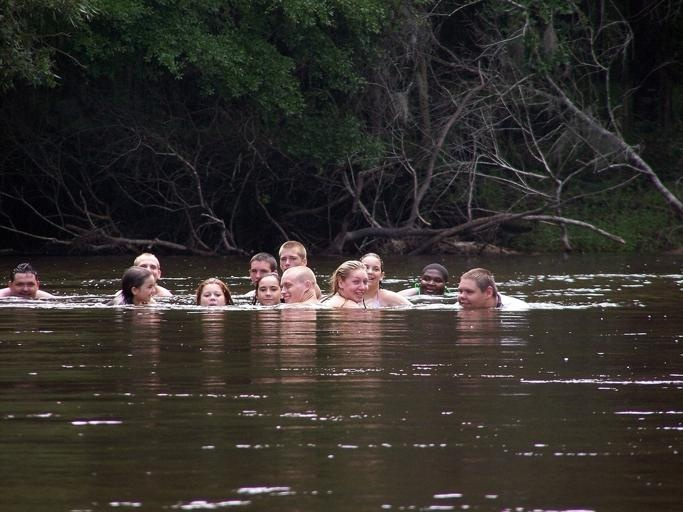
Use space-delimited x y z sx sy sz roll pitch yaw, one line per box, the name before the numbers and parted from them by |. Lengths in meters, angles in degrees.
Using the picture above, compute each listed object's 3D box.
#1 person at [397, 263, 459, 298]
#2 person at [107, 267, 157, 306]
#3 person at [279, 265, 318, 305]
person | 1.461 0.260 19.658 1.216 0.496 0.509 9 -19 4
person | -3.112 0.430 17.622 0.618 0.444 0.753 -8 17 -10
person | -0.628 0.442 17.488 0.654 0.658 0.538 -2 0 -12
